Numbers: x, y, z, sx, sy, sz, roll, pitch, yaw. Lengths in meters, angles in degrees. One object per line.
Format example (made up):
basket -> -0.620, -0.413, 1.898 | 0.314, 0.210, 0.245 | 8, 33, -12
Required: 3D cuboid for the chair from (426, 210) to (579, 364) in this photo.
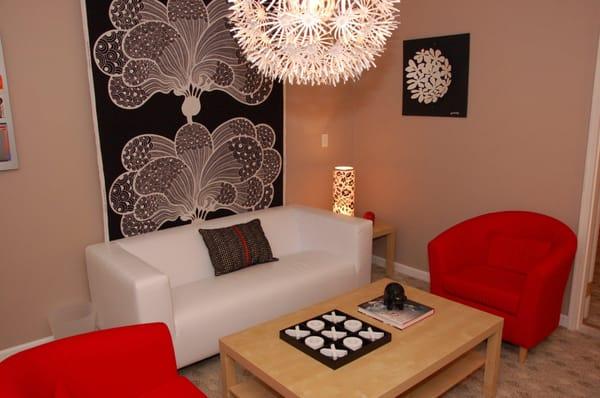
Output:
chair -> 1.883, 0.698, 3.865 | 1.191, 1.293, 1.248 | -8, 13, -38
